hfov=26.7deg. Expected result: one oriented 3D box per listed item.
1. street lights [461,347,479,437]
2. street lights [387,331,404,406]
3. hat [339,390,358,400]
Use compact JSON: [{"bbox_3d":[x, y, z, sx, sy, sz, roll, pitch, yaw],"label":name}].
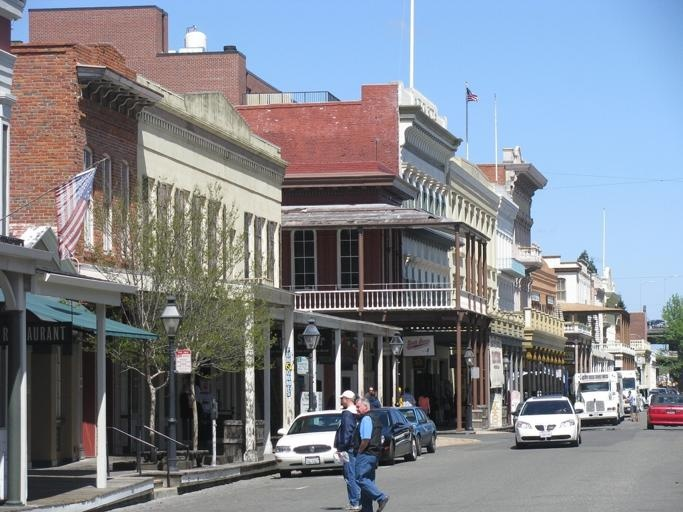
[{"bbox_3d":[5.764,5.886,63.938,0.664,3.744,0.783,1,-4,-1],"label":"street lights"},{"bbox_3d":[2.226,4.396,55.844,0.603,2.739,0.651,0,-5,-14],"label":"street lights"},{"bbox_3d":[0.141,3.055,32.074,0.281,0.192,0.249,13,-6,10],"label":"hat"}]
